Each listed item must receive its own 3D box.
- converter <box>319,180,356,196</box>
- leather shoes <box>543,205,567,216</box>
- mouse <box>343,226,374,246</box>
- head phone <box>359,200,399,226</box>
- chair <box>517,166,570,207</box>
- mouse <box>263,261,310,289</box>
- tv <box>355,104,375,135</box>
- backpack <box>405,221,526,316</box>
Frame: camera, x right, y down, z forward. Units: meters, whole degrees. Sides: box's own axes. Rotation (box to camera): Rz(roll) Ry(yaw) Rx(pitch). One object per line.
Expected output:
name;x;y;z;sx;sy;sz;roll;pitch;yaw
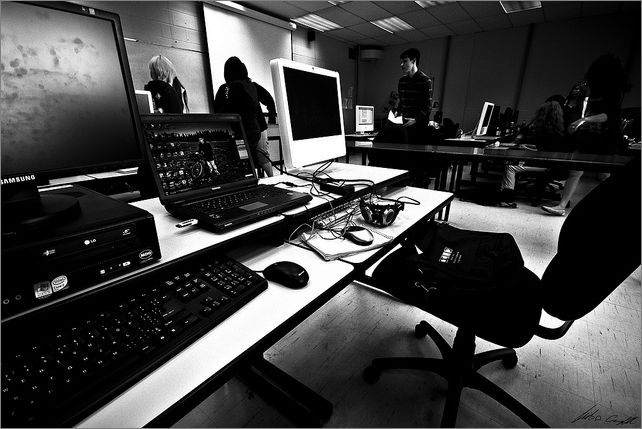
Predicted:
converter;0.072;-0.140;2.074;0.144;0.034;0.081;16;27;32
leather shoes;2.301;-0.037;4.012;0.190;0.067;0.106;16;22;39
mouse;0.162;0.090;1.784;0.105;0.031;0.074;12;23;26
head phone;0.277;-0.004;1.976;0.187;0.104;0.228;5;6;14
chair;2.407;-0.299;4.442;0.326;0.351;0.330;-16;20;-38
mouse;-0.128;0.232;1.551;0.159;0.049;0.090;10;22;22
tv;0.649;-1.411;6.074;0.093;0.413;0.407;16;27;36
backpack;0.664;0.218;1.933;0.465;0.162;0.367;16;36;33
